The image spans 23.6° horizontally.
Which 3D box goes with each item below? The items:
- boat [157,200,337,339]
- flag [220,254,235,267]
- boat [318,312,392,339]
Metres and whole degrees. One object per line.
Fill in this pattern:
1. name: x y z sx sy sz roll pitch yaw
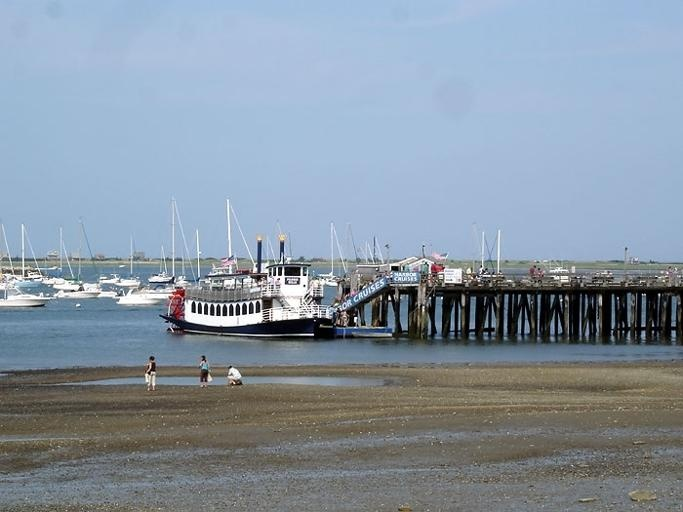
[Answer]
1. boat: -6.778 2.997 115.876 4.942 5.788 14.873 -5 8 -38
2. flag: -7.990 0.490 115.237 1.066 0.801 0.189 -5 -6 24
3. boat: 1.028 4.921 112.097 4.145 1.595 4.331 3 7 23
